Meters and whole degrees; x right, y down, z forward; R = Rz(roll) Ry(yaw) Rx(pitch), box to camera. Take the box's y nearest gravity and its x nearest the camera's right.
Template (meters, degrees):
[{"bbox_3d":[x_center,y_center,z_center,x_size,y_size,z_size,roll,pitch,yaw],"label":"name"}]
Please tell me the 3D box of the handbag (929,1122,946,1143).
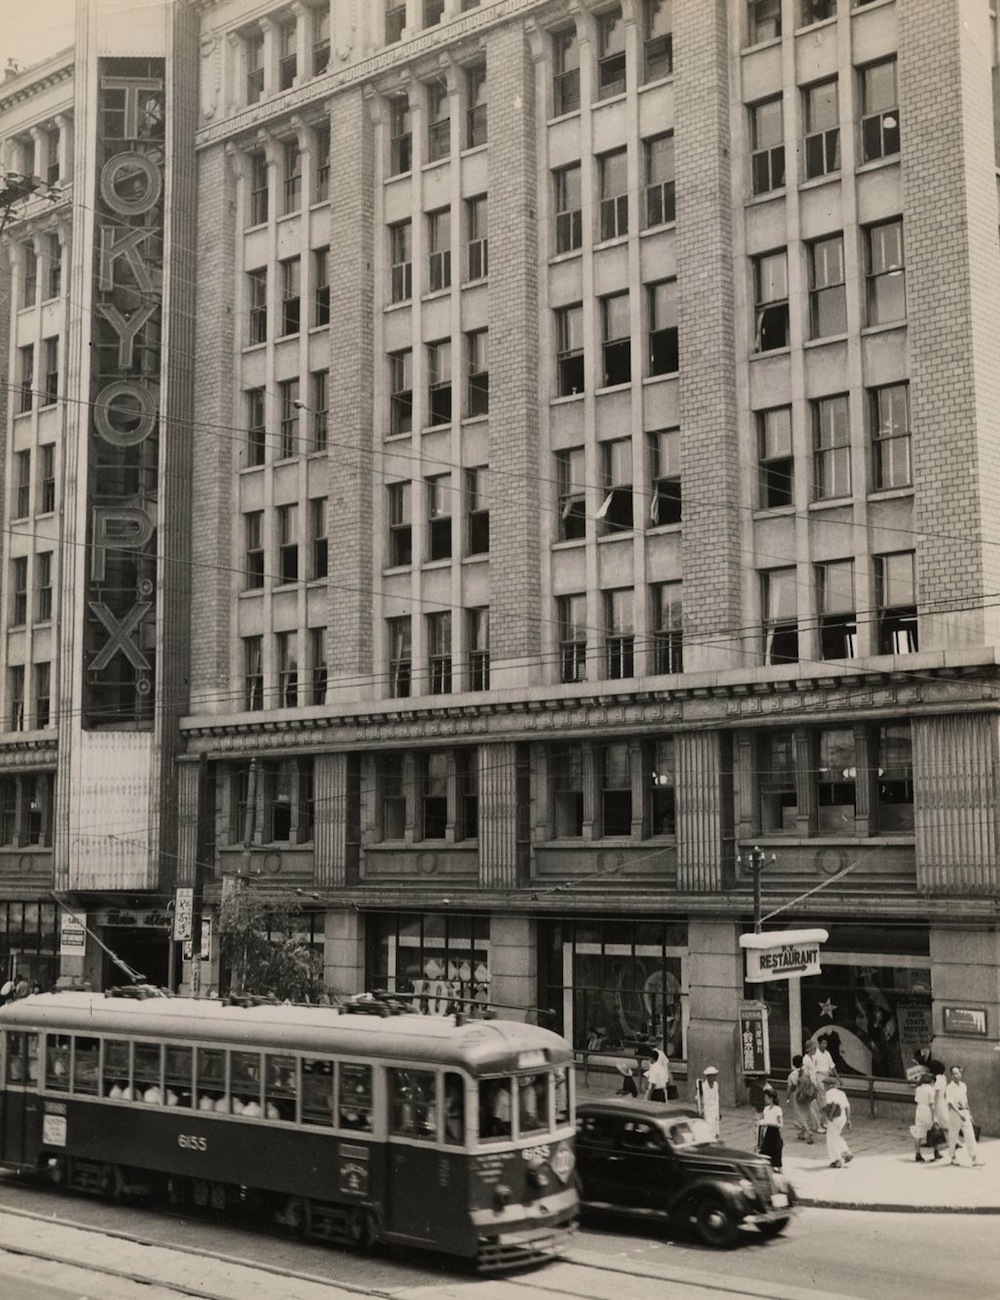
[{"bbox_3d":[6.882,7.553,32.527,0.278,0.333,0.624,-4,-13,12],"label":"handbag"}]
